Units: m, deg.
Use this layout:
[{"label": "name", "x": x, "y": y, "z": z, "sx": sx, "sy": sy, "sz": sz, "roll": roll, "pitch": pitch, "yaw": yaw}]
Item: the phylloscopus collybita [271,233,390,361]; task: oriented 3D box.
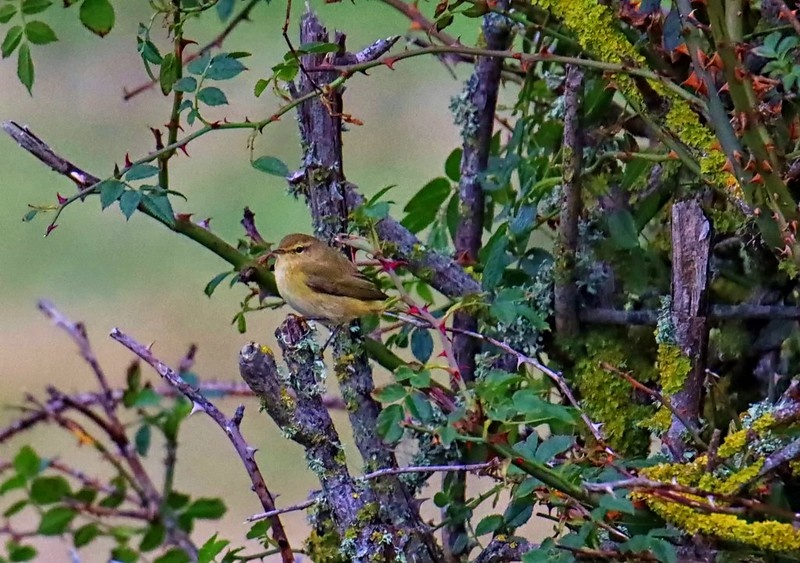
[{"label": "phylloscopus collybita", "x": -0.345, "y": -0.019, "z": 4.966, "sx": 0.575, "sy": 0.342, "sz": 0.445, "roll": 1, "pitch": -90, "yaw": 19}]
